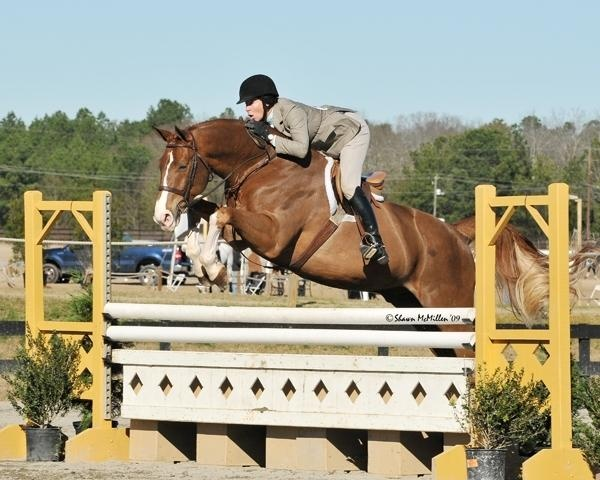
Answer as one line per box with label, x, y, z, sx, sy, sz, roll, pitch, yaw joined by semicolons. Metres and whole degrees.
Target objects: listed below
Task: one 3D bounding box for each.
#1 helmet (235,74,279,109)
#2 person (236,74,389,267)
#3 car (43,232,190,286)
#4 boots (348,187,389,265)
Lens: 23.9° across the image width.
helmet;-0.373;-1.296;12.475;0.333;0.247;0.218;0;-1;-4
person;0.069;-0.507;12.590;1.171;1.859;0.797;-3;-16;-6
car;-3.348;0.447;25.793;2.697;1.101;1.289;3;-1;-1
boots;0.584;-0.096;12.448;0.205;0.901;0.278;-17;-12;23
